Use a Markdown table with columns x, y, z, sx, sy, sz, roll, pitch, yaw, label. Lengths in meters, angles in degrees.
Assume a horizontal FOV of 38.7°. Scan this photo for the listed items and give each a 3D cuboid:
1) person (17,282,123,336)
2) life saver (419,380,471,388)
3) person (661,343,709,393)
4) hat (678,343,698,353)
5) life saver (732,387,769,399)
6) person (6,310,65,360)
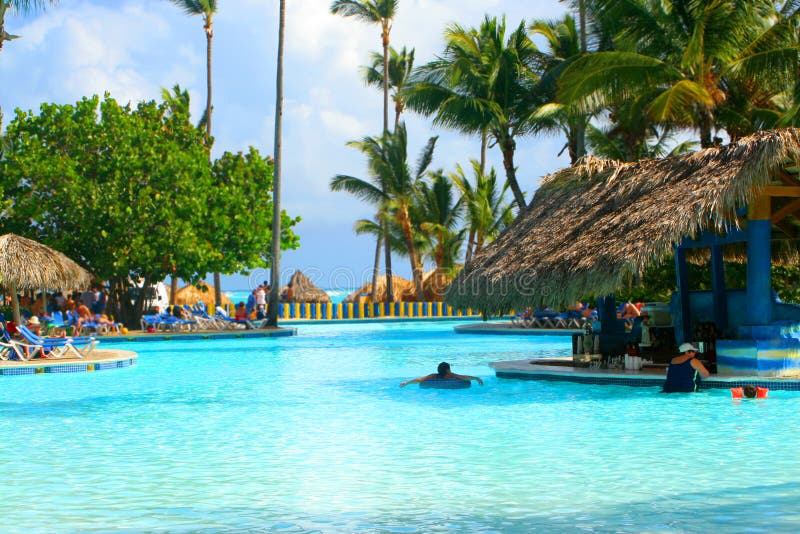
| x | y | z | sx | sy | sz | roll | pitch | yaw | label |
| --- | --- | --- | --- | --- | --- | --- | --- | --- | --- |
| -10.626 | 1.436 | 37.344 | 2.426 | 1.028 | 1.397 | 0 | 0 | 35 | person |
| 1.023 | 2.694 | 26.563 | 1.229 | 0.186 | 0.473 | 0 | 13 | 5 | life saver |
| 6.498 | 2.302 | 25.666 | 0.998 | 1.202 | 0.819 | -1 | 0 | -37 | person |
| 6.550 | 1.794 | 25.644 | 0.242 | 0.135 | 0.360 | 0 | 2 | 37 | hat |
| 7.590 | 2.697 | 24.626 | 0.384 | 0.163 | 0.398 | 1 | 1 | 10 | life saver |
| -9.703 | 1.817 | 29.576 | 1.676 | 0.719 | 0.943 | 2 | 6 | 3 | person |
